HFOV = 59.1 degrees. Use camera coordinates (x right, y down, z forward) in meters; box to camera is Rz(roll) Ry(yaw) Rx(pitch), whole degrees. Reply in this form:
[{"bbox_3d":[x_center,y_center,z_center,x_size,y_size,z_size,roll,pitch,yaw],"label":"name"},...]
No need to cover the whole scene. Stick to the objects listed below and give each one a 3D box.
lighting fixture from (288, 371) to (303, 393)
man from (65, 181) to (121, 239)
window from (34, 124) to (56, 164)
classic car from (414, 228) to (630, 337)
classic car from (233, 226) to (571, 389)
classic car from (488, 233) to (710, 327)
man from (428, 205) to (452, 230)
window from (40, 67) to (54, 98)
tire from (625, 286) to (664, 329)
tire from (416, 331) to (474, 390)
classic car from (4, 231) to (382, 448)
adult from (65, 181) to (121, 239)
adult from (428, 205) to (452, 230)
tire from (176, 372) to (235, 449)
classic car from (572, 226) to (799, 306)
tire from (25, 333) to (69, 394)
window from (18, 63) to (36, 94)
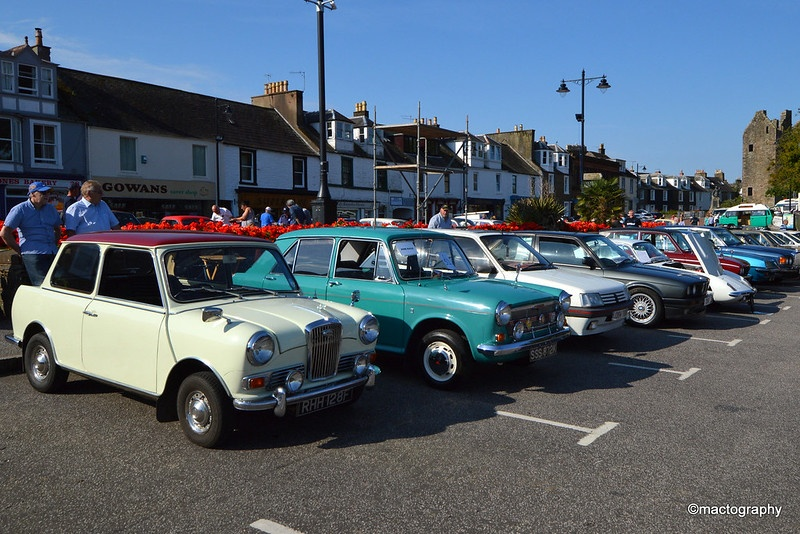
[{"bbox_3d":[-1.202,1.299,8.006,0.196,0.238,0.063,-17,10,-36],"label":"lighting fixture"},{"bbox_3d":[-5.145,-0.867,11.807,0.980,1.149,0.481,-9,5,-44],"label":"man"},{"bbox_3d":[-14.503,-5.031,28.739,0.848,1.556,0.422,-4,9,-29],"label":"window"},{"bbox_3d":[2.046,0.330,12.465,3.552,1.385,1.723,7,9,40],"label":"classic car"},{"bbox_3d":[0.028,0.414,10.685,4.278,1.653,2.167,4,7,37],"label":"classic car"},{"bbox_3d":[4.355,0.066,13.767,3.833,1.332,1.807,6,9,40],"label":"classic car"},{"bbox_3d":[1.004,-1.258,17.517,0.479,0.579,1.021,1,8,2],"label":"man"},{"bbox_3d":[-14.570,-7.667,29.073,0.532,1.166,0.390,-3,9,-28],"label":"window"},{"bbox_3d":[4.674,0.733,13.413,0.751,0.823,0.279,1,11,40],"label":"tire"},{"bbox_3d":[0.613,1.312,9.912,0.770,0.847,0.320,7,9,31],"label":"tire"},{"bbox_3d":[-2.653,0.824,8.852,4.032,1.793,2.265,4,5,36],"label":"classic car"},{"bbox_3d":[-5.129,-0.861,11.813,0.970,1.125,0.497,-8,5,-42],"label":"adult"},{"bbox_3d":[1.008,-1.259,17.522,0.497,0.579,1.112,1,8,1],"label":"adult"},{"bbox_3d":[-2.181,1.618,7.976,0.821,0.996,0.305,0,2,28],"label":"tire"},{"bbox_3d":[6.153,0.326,16.109,3.344,1.354,2.123,9,10,43],"label":"classic car"},{"bbox_3d":[-4.613,1.255,9.230,0.675,0.813,0.248,9,9,32],"label":"tire"},{"bbox_3d":[-15.157,-7.651,28.637,0.688,1.145,0.394,-4,9,-30],"label":"window"}]
